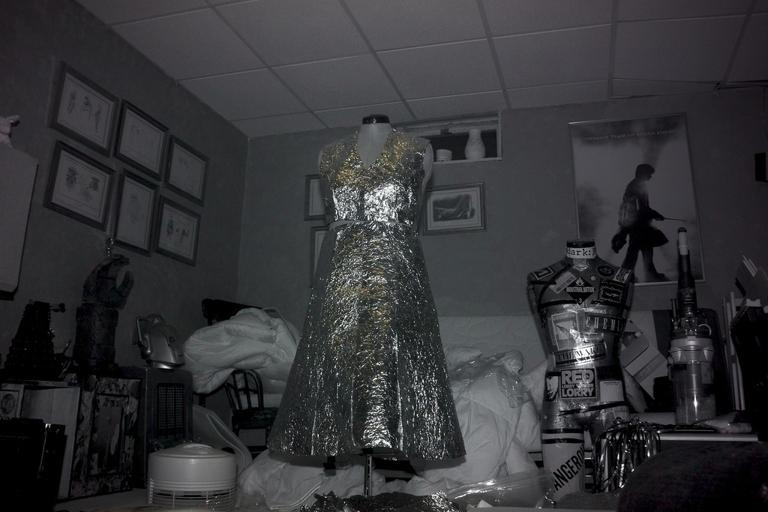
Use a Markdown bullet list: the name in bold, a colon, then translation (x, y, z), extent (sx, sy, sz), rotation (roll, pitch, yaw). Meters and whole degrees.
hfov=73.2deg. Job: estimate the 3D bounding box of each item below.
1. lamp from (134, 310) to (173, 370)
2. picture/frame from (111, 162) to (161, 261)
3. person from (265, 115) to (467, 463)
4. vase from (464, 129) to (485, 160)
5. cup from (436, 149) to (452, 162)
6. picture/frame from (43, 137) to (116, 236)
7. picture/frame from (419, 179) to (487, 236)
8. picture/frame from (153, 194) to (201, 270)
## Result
- **lamp**: translation (-1.317, 0.511, 3.013), extent (0.297, 0.294, 0.257), rotation (2, -9, -22)
- **picture/frame**: translation (-1.544, -0.272, 3.219), extent (0.056, 0.481, 0.281), rotation (-8, -17, 21)
- **person**: translation (-0.094, 0.058, 2.396), extent (0.801, 1.667, 0.369), rotation (-4, -16, 7)
- **vase**: translation (0.682, -0.833, 3.872), extent (0.151, 0.245, 0.069), rotation (-5, -16, 11)
- **cup**: translation (0.455, -0.759, 3.961), extent (0.100, 0.076, 0.099), rotation (1, -5, 0)
- **picture/frame**: translation (-1.722, -0.387, 2.903), extent (0.039, 0.471, 0.471), rotation (-8, -21, 28)
- **picture/frame**: translation (0.513, -0.351, 3.831), extent (0.410, 0.020, 0.337), rotation (-5, -55, 4)
- **picture/frame**: translation (-1.413, -0.162, 3.512), extent (0.036, 0.389, 0.468), rotation (-7, -15, 24)
